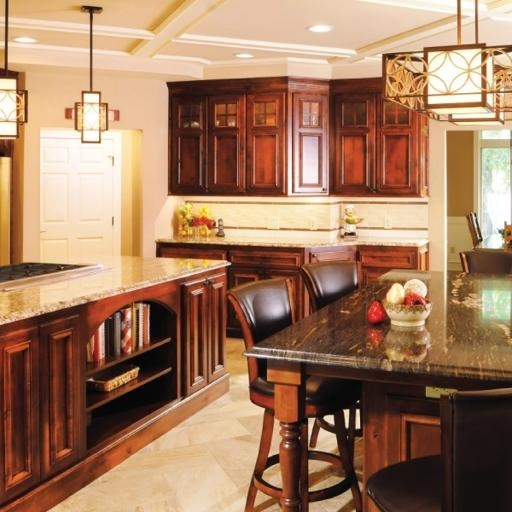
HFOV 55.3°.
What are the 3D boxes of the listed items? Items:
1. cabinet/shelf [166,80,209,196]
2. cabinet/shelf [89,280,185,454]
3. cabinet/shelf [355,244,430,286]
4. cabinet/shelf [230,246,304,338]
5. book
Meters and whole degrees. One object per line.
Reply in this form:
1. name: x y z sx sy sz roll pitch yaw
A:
1. cabinet/shelf: -0.782 -1.439 5.918 0.529 1.214 0.280 4 9 14
2. cabinet/shelf: -0.805 0.719 3.268 0.774 0.638 0.250 -23 -2 36
3. cabinet/shelf: 1.510 -0.002 5.484 0.777 0.698 0.454 1 2 20
4. cabinet/shelf: 0.176 0.369 5.574 1.015 1.129 0.489 2 4 27
5. book: -0.786 0.439 2.822 0.097 0.289 0.231 9 7 24
